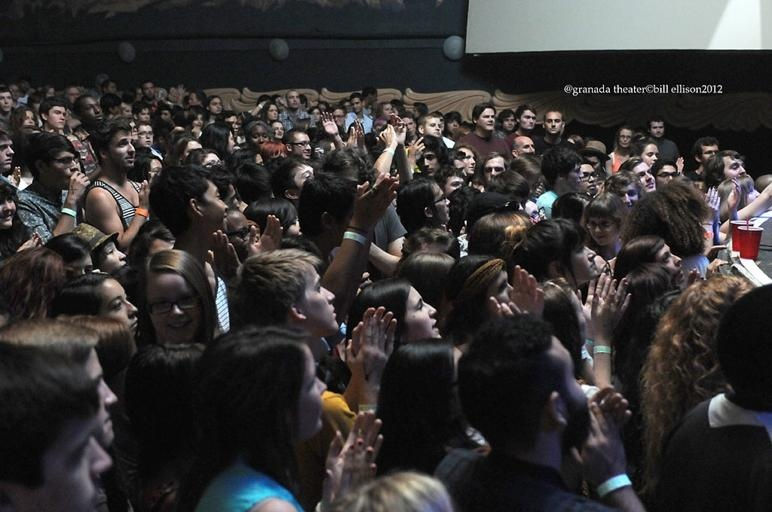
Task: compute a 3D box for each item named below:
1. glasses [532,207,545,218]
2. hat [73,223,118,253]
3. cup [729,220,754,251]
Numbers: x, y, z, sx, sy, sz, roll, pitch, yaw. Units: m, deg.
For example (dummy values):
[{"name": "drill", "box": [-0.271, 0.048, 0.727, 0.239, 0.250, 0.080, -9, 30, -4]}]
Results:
[{"name": "glasses", "box": [1.420, -0.409, 6.009, 0.115, 0.102, 0.031, 41, -13, -5]}, {"name": "hat", "box": [-2.044, -0.110, 4.441, 0.258, 0.100, 0.229, -21, 11, 28]}, {"name": "cup", "box": [2.989, -0.170, 5.405, 0.224, 0.262, 0.211, -2, 16, 0]}]
